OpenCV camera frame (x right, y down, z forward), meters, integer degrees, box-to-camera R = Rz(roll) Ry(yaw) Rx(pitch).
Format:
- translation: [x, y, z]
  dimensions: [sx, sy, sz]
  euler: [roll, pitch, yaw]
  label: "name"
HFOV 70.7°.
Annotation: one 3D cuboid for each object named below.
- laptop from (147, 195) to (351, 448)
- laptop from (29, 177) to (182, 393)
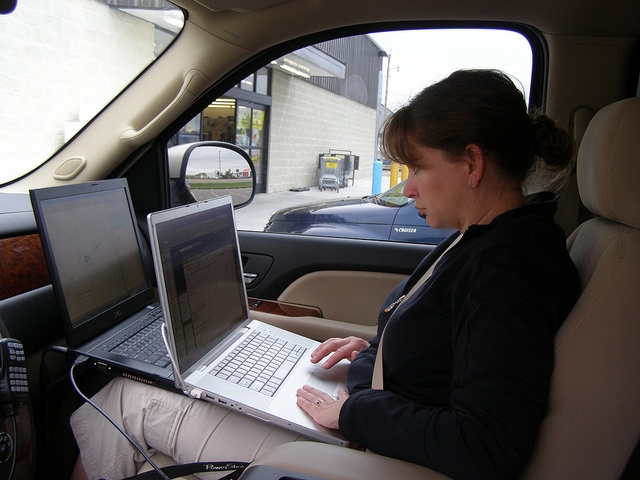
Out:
- translation: [-0.177, 0.188, 1.426]
  dimensions: [0.580, 0.484, 0.546]
  euler: [13, 15, 22]
  label: "laptop"
- translation: [-0.634, 0.134, 1.546]
  dimensions: [0.430, 0.610, 0.573]
  euler: [-4, 17, 10]
  label: "laptop"
